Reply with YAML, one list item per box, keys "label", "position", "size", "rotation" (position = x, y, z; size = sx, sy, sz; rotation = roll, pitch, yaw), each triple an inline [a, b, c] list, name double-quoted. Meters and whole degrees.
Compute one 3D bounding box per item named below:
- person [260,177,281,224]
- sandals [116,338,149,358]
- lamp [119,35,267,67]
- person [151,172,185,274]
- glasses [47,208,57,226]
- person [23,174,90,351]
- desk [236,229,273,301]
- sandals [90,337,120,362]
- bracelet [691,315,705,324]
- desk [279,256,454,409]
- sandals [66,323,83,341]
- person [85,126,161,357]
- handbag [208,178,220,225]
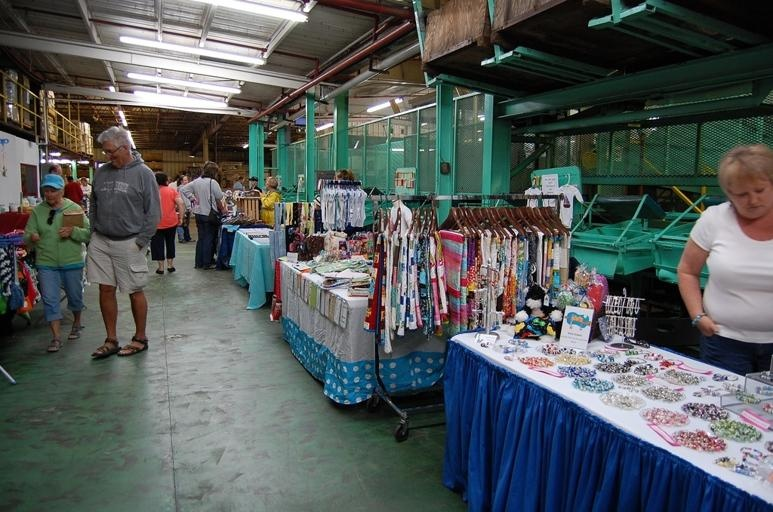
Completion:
- label: "person"
  position: [-2.158, -1.014, 9.179]
  size: [0.359, 0.890, 1.128]
  rotation: [-4, 9, -13]
- label: "sandals"
  position: [-2.774, 0.983, 5.405]
  size: [0.138, 0.119, 0.287]
  rotation: [-2, -5, 23]
- label: "lamp"
  position: [-3.843, -4.135, 10.051]
  size: [2.715, 0.512, 1.725]
  rotation: [-6, 10, -25]
- label: "person"
  position: [-4.194, -0.657, 9.426]
  size: [0.715, 1.842, 0.614]
  rotation: [0, 9, -11]
- label: "glasses"
  position: [-3.558, -0.424, 5.260]
  size: [0.086, 0.140, 0.032]
  rotation: [8, -6, -5]
- label: "person"
  position: [-3.532, 0.068, 5.357]
  size: [0.558, 1.867, 0.377]
  rotation: [-9, 12, -39]
- label: "desk"
  position: [-1.991, 0.149, 7.552]
  size: [0.397, 0.383, 1.047]
  rotation: [-2, 17, -28]
- label: "sandals"
  position: [-2.981, 0.989, 5.360]
  size: [0.129, 0.163, 0.385]
  rotation: [-2, -4, 19]
- label: "bracelet"
  position: [1.891, 0.382, 3.004]
  size: [0.059, 0.050, 0.021]
  rotation: [-31, 20, -13]
- label: "desk"
  position: [-0.318, 0.645, 5.193]
  size: [1.191, 0.982, 2.002]
  rotation: [0, 9, -28]
- label: "sandals"
  position: [-3.656, 0.883, 5.807]
  size: [0.171, 0.138, 0.453]
  rotation: [-1, 3, -32]
- label: "person"
  position: [-2.755, -0.132, 5.181]
  size: [0.807, 2.366, 0.243]
  rotation: [-3, 9, -11]
- label: "handbag"
  position: [-3.371, -1.055, 9.655]
  size: [0.231, 0.813, 0.182]
  rotation: [-4, 9, -17]
